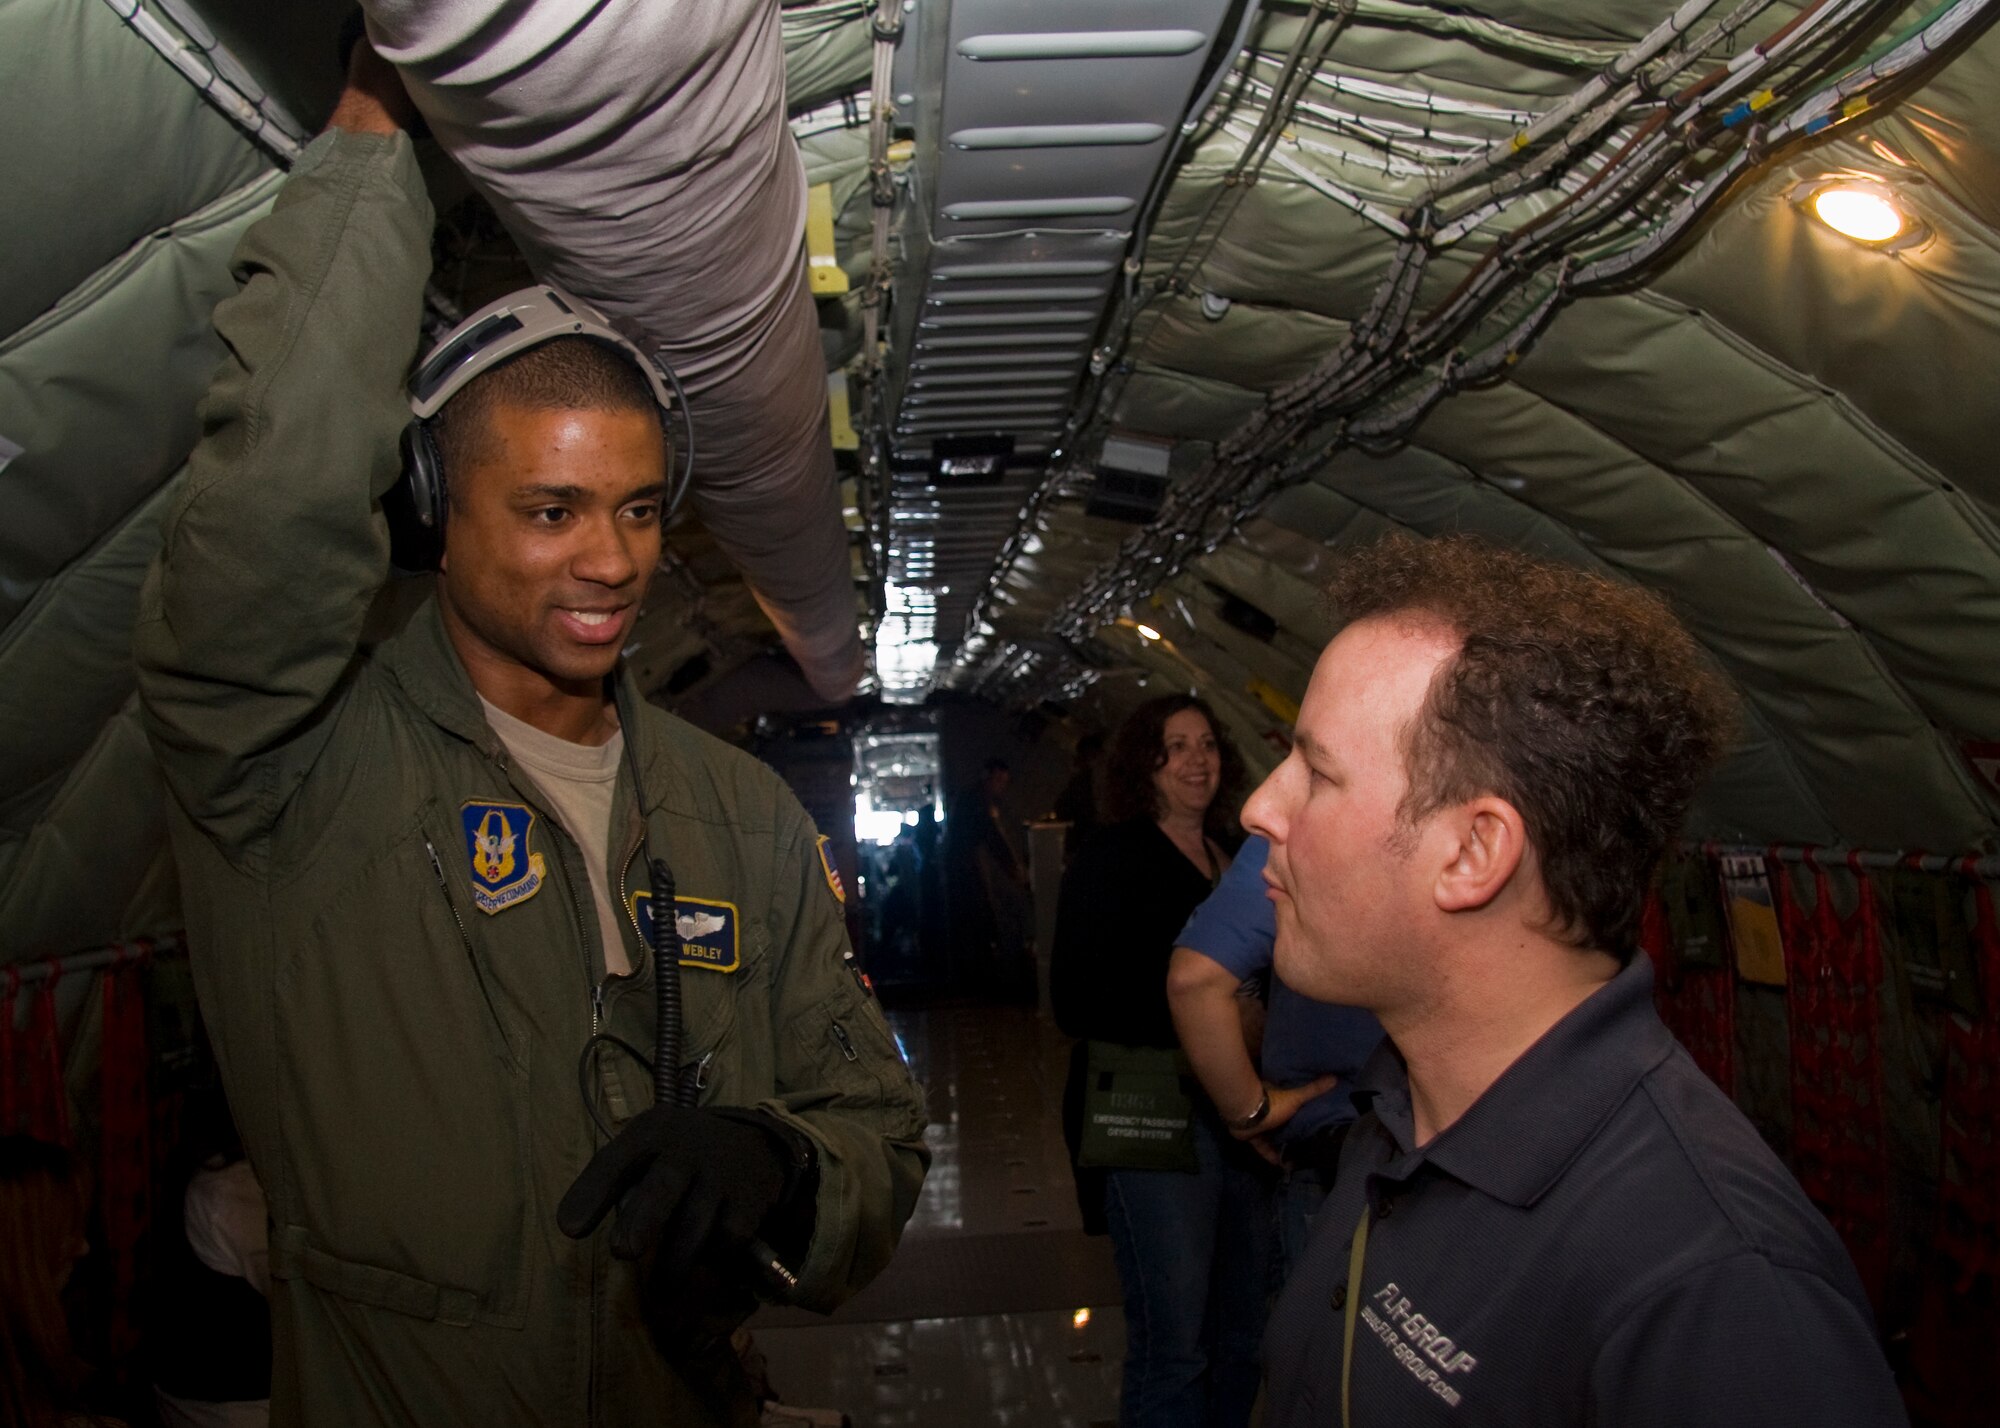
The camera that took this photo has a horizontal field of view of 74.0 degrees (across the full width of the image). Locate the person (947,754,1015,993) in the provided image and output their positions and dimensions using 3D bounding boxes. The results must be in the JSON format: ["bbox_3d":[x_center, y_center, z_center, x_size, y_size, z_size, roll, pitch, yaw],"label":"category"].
[{"bbox_3d":[-0.251,2.417,20.413,0.887,3.533,1.574,3,-9,-18],"label":"person"}]

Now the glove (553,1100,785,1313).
[{"bbox_3d":[-0.515,0.837,2.240,0.266,0.348,0.497,-1,-8,10],"label":"glove"}]
